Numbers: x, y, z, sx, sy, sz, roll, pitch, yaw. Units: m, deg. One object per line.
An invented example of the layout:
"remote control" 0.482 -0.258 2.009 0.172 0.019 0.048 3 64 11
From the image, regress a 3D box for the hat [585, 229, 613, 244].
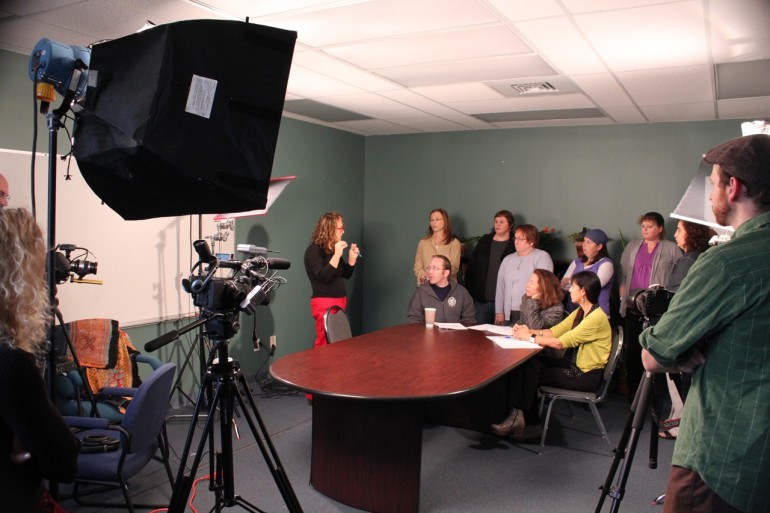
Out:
"hat" 2.059 -0.198 5.419 0.191 0.110 0.150 0 7 7

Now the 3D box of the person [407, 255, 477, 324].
"person" 0.516 0.431 5.225 0.661 0.791 0.406 -4 -3 -6

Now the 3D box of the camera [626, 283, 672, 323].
"camera" 1.364 0.258 2.917 0.189 0.187 0.185 -6 8 -38

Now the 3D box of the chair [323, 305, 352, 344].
"chair" -0.397 0.586 4.718 0.277 0.399 0.235 -2 -1 39

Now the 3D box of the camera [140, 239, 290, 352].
"camera" -0.758 0.161 2.585 0.383 0.449 0.888 6 11 23

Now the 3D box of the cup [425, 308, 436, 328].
"cup" 0.397 0.536 4.912 0.126 0.149 0.130 1 -7 0
